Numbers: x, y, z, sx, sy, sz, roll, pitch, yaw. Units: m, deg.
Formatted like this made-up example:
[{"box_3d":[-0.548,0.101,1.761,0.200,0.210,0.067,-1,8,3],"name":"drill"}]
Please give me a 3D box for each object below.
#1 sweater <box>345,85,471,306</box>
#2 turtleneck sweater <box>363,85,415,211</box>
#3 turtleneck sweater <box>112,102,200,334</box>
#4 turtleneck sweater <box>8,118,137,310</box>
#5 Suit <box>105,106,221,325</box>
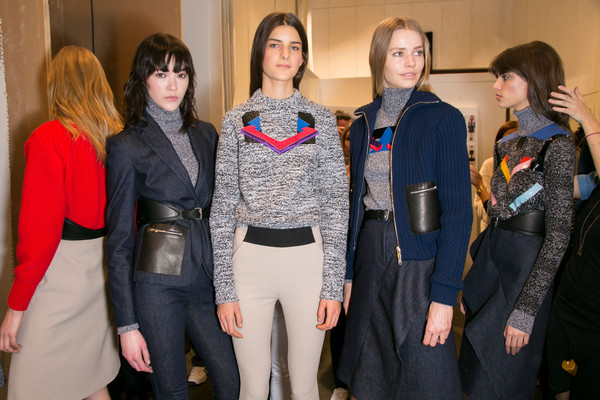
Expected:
[{"box_3d":[0.581,-0.028,2.442,0.729,1.102,0.440,10,19,28],"name":"sweater"},{"box_3d":[0.457,-0.281,2.496,0.133,0.615,0.419,2,8,1],"name":"turtleneck sweater"},{"box_3d":[-0.918,0.060,2.510,0.253,1.164,0.620,4,2,17],"name":"turtleneck sweater"},{"box_3d":[-1.361,0.063,2.507,0.343,1.019,0.699,-6,-3,44],"name":"turtleneck sweater"},{"box_3d":[-0.769,0.076,2.526,0.600,1.103,0.583,-3,17,-12],"name":"Suit"}]
